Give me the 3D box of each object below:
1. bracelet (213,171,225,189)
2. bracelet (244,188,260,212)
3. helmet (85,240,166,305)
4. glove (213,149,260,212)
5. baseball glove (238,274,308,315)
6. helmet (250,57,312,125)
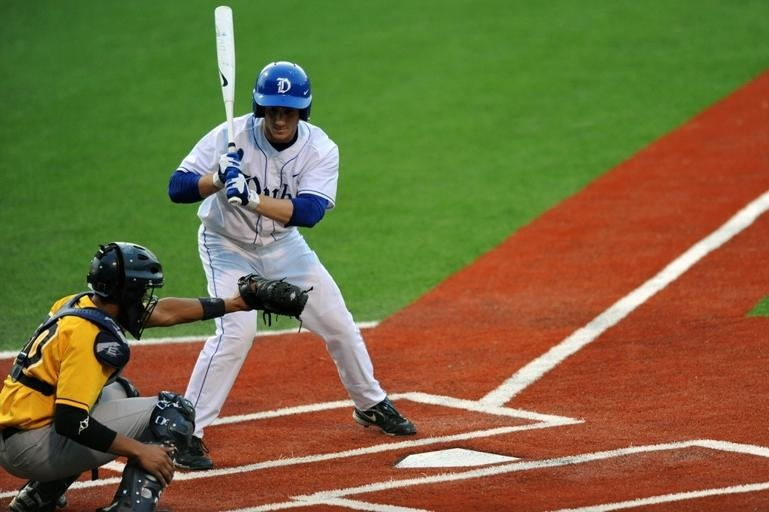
[{"bbox_3d":[-1.352,-0.611,8.442,0.088,0.108,0.109,-20,56,-31],"label":"bracelet"},{"bbox_3d":[-1.037,-0.449,8.389,0.120,0.139,0.059,26,8,31],"label":"bracelet"},{"bbox_3d":[-1.919,0.130,7.838,0.552,0.395,0.418,14,4,-34],"label":"helmet"},{"bbox_3d":[-1.189,-0.615,8.369,0.122,0.417,0.459,-19,-14,23],"label":"glove"},{"bbox_3d":[-0.862,0.294,8.111,0.449,0.159,0.315,5,13,26],"label":"baseball glove"},{"bbox_3d":[-0.841,-1.372,8.656,0.392,0.303,0.497,2,37,-4],"label":"helmet"}]
